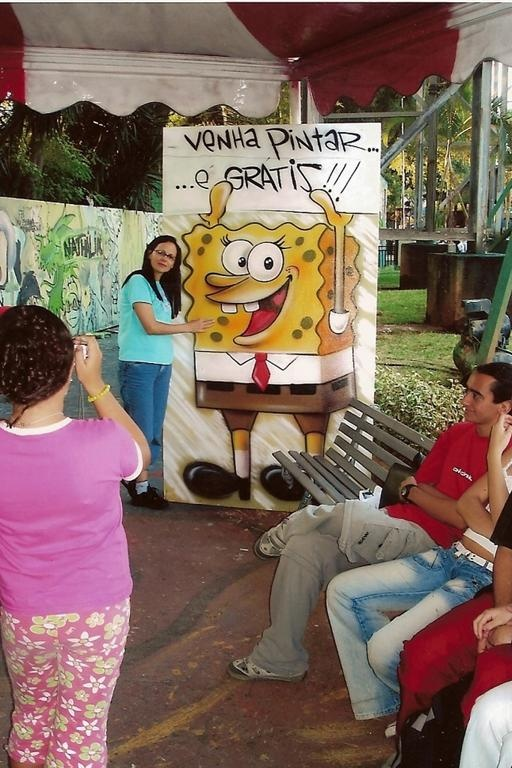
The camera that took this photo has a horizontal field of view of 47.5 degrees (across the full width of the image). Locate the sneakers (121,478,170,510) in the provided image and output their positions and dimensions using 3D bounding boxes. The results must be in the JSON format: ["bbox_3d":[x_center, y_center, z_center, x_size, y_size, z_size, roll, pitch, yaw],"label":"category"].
[{"bbox_3d":[-0.900,0.919,4.888,0.466,0.203,0.159,6,7,23],"label":"sneakers"}]

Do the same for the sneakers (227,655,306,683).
[{"bbox_3d":[0.049,1.285,2.694,0.352,0.145,0.128,0,3,5],"label":"sneakers"}]

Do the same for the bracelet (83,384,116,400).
[{"bbox_3d":[-0.397,0.028,1.469,0.055,0.017,0.047,-30,1,4],"label":"bracelet"}]

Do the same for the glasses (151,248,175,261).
[{"bbox_3d":[-0.691,-0.976,4.385,0.104,0.031,0.104,7,-40,-14],"label":"glasses"}]

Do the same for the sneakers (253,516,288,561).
[{"bbox_3d":[0.118,0.774,2.866,0.111,0.131,0.327,40,-32,-6],"label":"sneakers"}]

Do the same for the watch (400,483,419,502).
[{"bbox_3d":[0.675,0.481,2.626,0.089,0.057,0.084,-27,-17,31],"label":"watch"}]
